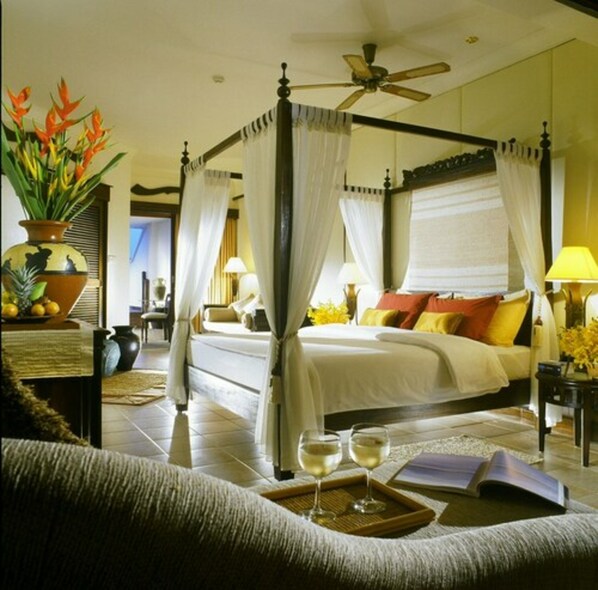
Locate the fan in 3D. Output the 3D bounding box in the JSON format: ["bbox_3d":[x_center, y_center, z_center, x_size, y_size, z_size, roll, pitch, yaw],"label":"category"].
[{"bbox_3d":[0.756,-2.352,5.168,1.169,0.409,1.280,-3,4,-33],"label":"fan"}]

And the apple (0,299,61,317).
[{"bbox_3d":[-1.008,0.048,1.811,0.146,0.057,0.048,-5,15,-25],"label":"apple"}]

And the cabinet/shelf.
[{"bbox_3d":[-0.931,0.383,1.880,0.395,0.517,0.276,2,0,-40],"label":"cabinet/shelf"}]

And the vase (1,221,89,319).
[{"bbox_3d":[-1.113,-0.122,2.217,0.376,0.500,0.380,-1,3,-39],"label":"vase"}]

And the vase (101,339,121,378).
[{"bbox_3d":[-2.472,0.792,6.214,0.321,0.420,0.326,4,-4,-18],"label":"vase"}]

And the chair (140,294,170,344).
[{"bbox_3d":[-3.218,0.479,10.938,0.602,1.044,2.249,2,0,-17],"label":"chair"}]

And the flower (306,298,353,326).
[{"bbox_3d":[0.345,0.241,6.087,0.354,0.240,0.375,-3,-6,38],"label":"flower"}]

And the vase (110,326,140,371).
[{"bbox_3d":[-2.506,0.715,7.047,0.420,0.616,0.444,11,19,28],"label":"vase"}]
